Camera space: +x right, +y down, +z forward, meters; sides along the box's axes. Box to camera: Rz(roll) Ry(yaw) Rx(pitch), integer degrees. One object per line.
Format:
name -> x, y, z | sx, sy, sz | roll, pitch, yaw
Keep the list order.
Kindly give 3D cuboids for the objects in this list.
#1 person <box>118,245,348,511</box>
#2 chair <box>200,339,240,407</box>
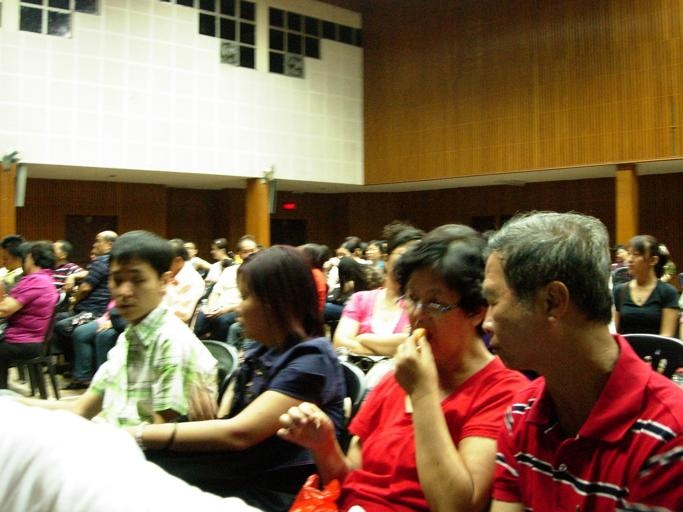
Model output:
person -> -0.301, 0.580, 2.358 | 0.826, 1.302, 0.691 | 8, -19, -7
chair -> -0.537, 0.537, 2.547 | 0.233, 0.176, 0.240 | 5, 2, -4
